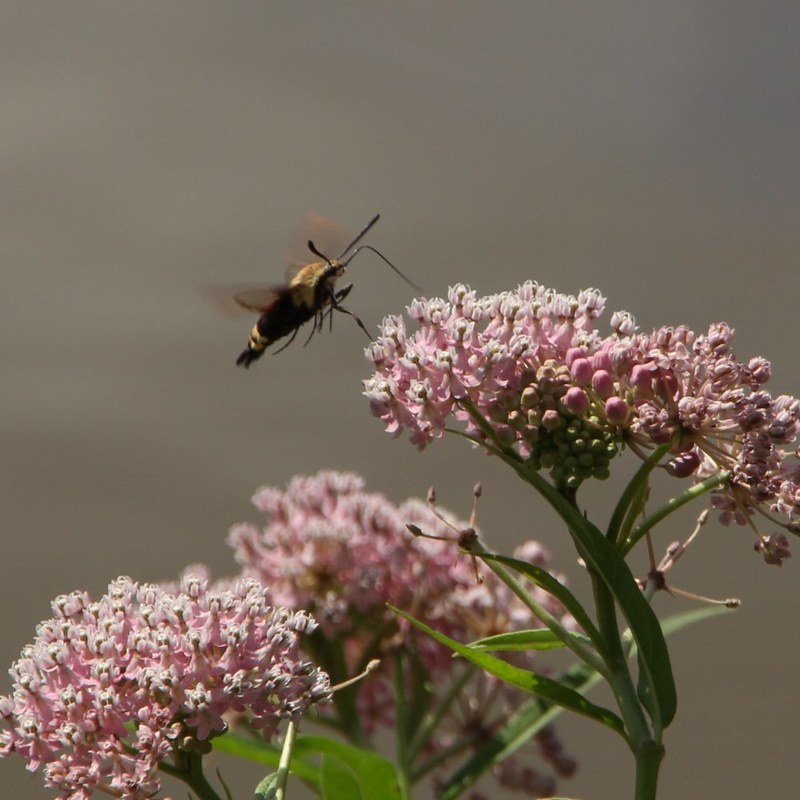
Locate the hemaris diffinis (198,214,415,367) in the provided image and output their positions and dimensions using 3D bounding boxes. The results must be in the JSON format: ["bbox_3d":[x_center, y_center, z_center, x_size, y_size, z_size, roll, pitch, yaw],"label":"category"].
[{"bbox_3d":[-0.196,-0.203,3.094,0.350,0.362,0.215,-25,-93,10],"label":"hemaris diffinis"}]
